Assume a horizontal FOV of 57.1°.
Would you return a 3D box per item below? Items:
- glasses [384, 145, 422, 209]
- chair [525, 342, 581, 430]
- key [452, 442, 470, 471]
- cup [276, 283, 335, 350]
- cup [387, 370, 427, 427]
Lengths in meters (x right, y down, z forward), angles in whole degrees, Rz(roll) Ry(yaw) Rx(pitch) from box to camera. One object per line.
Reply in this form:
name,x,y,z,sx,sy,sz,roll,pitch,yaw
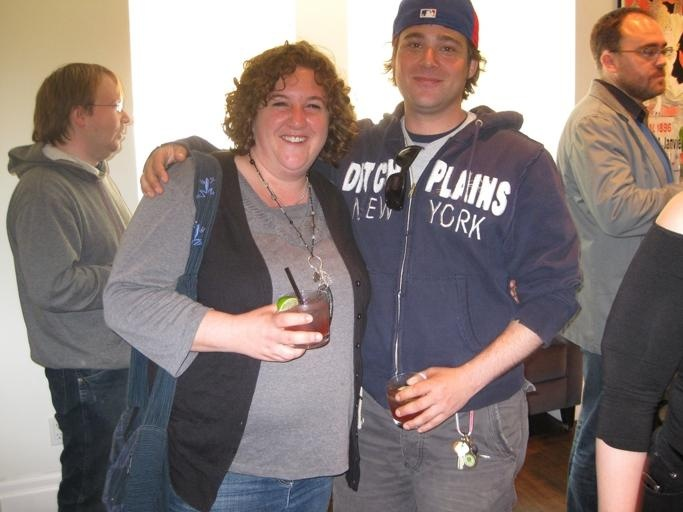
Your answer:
glasses,0.228,-0.314,2.394,0.103,0.276,0.040,8,-29,21
chair,1.351,0.825,4.244,0.422,0.560,0.328,-3,-18,9
key,0.434,0.712,2.239,0.064,0.113,0.026,7,13,28
cup,-0.125,0.200,2.111,0.161,0.246,0.248,2,11,6
cup,0.223,0.492,2.185,0.106,0.190,0.127,-4,12,-23
